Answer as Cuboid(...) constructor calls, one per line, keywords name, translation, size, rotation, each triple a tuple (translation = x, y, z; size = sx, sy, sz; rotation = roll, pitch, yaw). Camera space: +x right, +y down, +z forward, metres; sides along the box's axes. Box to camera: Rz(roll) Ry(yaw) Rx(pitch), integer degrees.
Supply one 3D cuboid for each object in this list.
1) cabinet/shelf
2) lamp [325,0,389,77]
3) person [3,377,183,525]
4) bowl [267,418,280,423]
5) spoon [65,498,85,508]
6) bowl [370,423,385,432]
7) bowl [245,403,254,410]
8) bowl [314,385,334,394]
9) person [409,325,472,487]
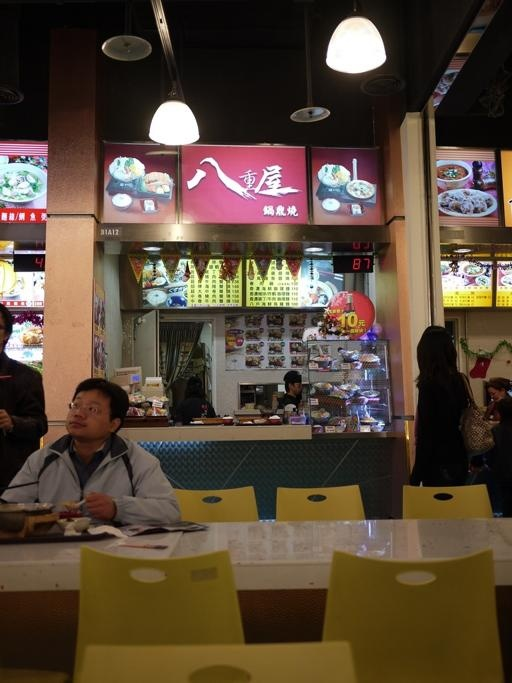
Cuboid(name="cabinet/shelf", translation=(0.798, 0.398, 5.155), size=(0.827, 0.763, 0.478), rotation=(-2, -4, 35))
Cuboid(name="lamp", translation=(0.577, -1.753, 3.656), size=(0.324, 0.282, 0.198), rotation=(0, -2, 8))
Cuboid(name="person", translation=(-0.535, 0.445, 2.286), size=(0.740, 0.552, 0.450), rotation=(-2, -23, 0))
Cuboid(name="bowl", translation=(0.132, 0.590, 4.671), size=(0.085, 0.047, 0.045), rotation=(1, -2, 0))
Cuboid(name="spoon", translation=(-0.607, 0.539, 2.091), size=(0.049, 0.022, 0.065), rotation=(6, -6, -39))
Cuboid(name="bowl", translation=(0.969, 0.680, 4.973), size=(0.083, 0.056, 0.069), rotation=(0, -2, 8))
Cuboid(name="bowl", translation=(-0.072, 0.708, 6.793), size=(0.087, 0.057, 0.065), rotation=(0, -7, -5))
Cuboid(name="bowl", translation=(0.525, 0.366, 4.875), size=(0.095, 0.048, 0.088), rotation=(2, -5, 0))
Cuboid(name="person", translation=(0.999, 0.344, 3.396), size=(0.308, 0.873, 0.416), rotation=(0, -2, 19))
